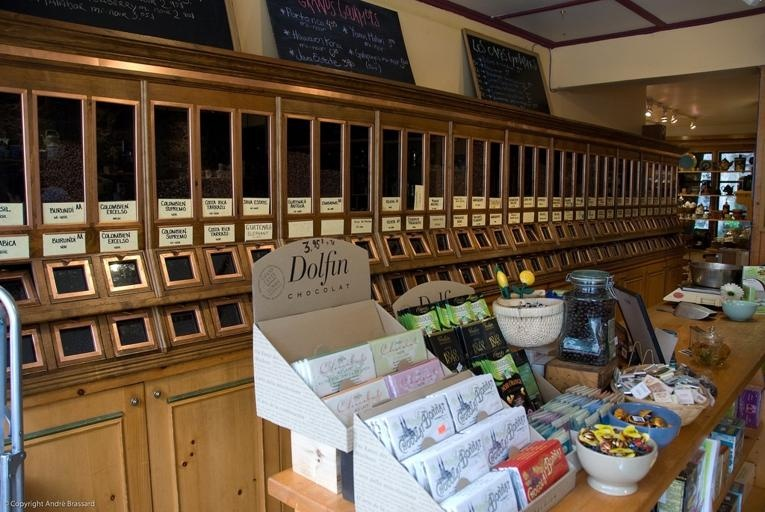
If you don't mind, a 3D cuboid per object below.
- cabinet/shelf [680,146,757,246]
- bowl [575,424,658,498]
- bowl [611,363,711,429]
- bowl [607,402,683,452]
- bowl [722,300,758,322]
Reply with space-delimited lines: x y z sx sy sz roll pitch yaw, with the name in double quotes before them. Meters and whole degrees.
"cabinet/shelf" 7.633 -1.373 10.862 1.426 2.234 1.208 -2 8 37
"bowl" 0.777 0.677 1.570 0.252 0.162 0.251 1 1 0
"bowl" 1.180 0.551 1.964 0.257 0.089 0.251 0 4 0
"bowl" 0.931 0.607 1.742 0.187 0.081 0.184 0 0 0
"bowl" 2.452 0.368 3.230 0.165 0.092 0.165 -2 2 0
